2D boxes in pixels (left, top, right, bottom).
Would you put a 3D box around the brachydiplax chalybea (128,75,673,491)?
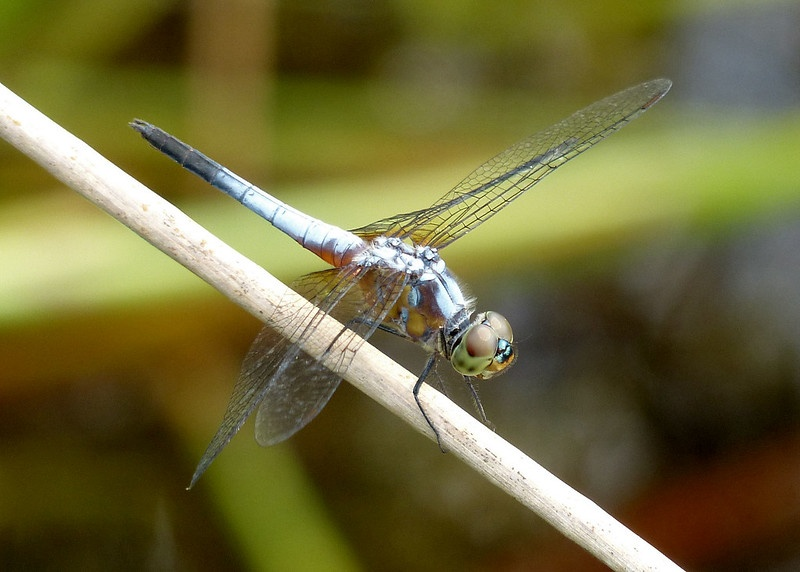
[{"bbox_3d":[-0.021,-0.016,2.123,0.981,0.691,1.701,-2,18,36],"label":"brachydiplax chalybea"}]
